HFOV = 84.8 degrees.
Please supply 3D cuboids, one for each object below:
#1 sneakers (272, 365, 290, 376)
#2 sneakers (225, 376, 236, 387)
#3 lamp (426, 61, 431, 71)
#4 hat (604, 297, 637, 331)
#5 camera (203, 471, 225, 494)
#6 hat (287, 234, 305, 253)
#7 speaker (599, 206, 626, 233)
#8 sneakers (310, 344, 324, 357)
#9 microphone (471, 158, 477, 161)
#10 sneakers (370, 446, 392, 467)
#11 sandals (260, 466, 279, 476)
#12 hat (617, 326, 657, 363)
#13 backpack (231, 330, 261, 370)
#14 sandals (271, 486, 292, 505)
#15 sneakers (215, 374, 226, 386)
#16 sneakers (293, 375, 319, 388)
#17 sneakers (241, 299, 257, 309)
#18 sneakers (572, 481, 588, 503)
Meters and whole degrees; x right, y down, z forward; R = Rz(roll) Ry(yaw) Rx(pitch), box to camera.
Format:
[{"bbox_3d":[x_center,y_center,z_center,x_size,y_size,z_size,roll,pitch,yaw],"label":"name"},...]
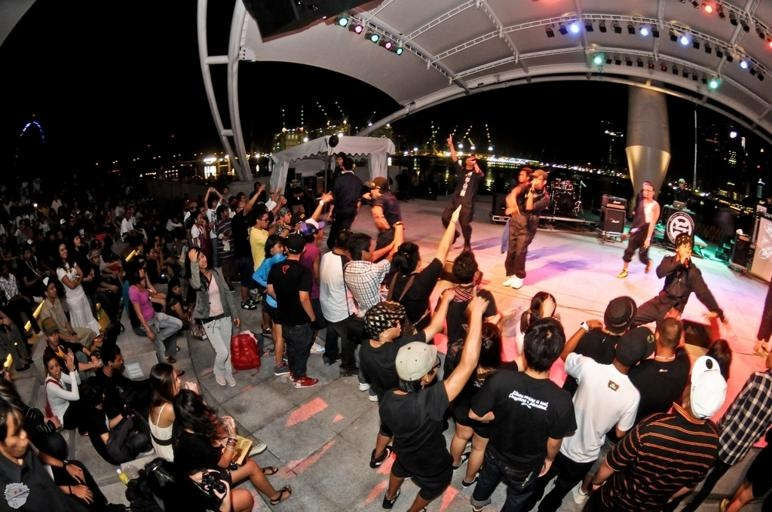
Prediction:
[{"bbox_3d":[-1.918,2.087,7.693,0.307,0.136,0.123,-2,4,-13],"label":"sneakers"},{"bbox_3d":[-2.741,2.224,7.500,0.173,0.149,0.162,-5,13,-25],"label":"sneakers"},{"bbox_3d":[1.488,-6.671,14.886,0.144,0.140,0.356,-17,10,7],"label":"lamp"},{"bbox_3d":[3.224,0.745,5.860,0.428,0.205,0.597,7,51,42],"label":"hat"},{"bbox_3d":[-2.000,2.636,4.922,0.088,0.292,0.177,-29,39,-32],"label":"camera"},{"bbox_3d":[-1.506,-0.206,7.025,0.298,0.334,0.180,-2,12,-13],"label":"hat"},{"bbox_3d":[7.463,-1.201,13.693,0.779,1.107,0.793,-1,9,7],"label":"speaker"},{"bbox_3d":[-1.325,1.847,8.265,0.341,0.163,0.139,2,6,11],"label":"sneakers"},{"bbox_3d":[2.112,-2.352,10.282,0.133,0.041,0.136,-2,9,29],"label":"microphone"},{"bbox_3d":[-0.088,2.910,6.197,0.330,0.304,0.207,-1,12,-7],"label":"sneakers"},{"bbox_3d":[-1.666,3.082,6.089,0.237,0.123,0.111,-2,12,-15],"label":"sandals"},{"bbox_3d":[3.063,1.124,5.253,0.460,0.419,0.272,-7,14,-32],"label":"hat"},{"bbox_3d":[-2.611,1.807,7.789,0.511,0.683,0.374,-5,-12,-37],"label":"backpack"},{"bbox_3d":[-1.426,3.285,5.803,0.141,0.066,0.270,29,39,35],"label":"sandals"},{"bbox_3d":[-2.925,2.205,7.496,0.089,0.109,0.267,-19,24,-31],"label":"sneakers"},{"bbox_3d":[-1.398,2.216,7.422,0.429,0.205,0.184,-1,12,-4],"label":"sneakers"},{"bbox_3d":[-3.200,1.134,9.916,0.363,0.163,0.179,-1,8,19],"label":"sneakers"},{"bbox_3d":[2.648,3.265,5.799,0.132,0.147,0.341,15,45,23],"label":"sneakers"}]
